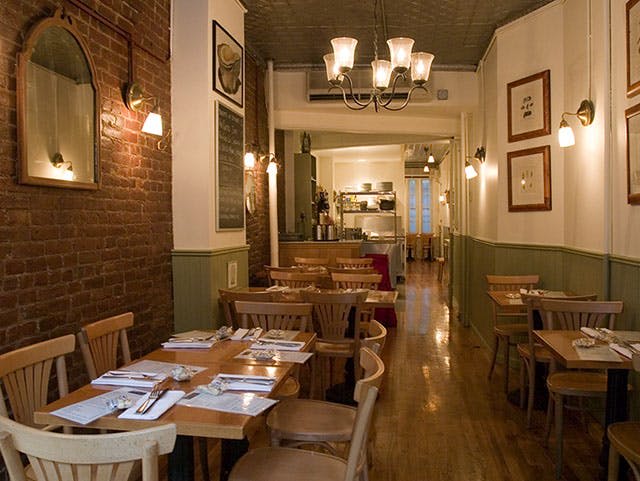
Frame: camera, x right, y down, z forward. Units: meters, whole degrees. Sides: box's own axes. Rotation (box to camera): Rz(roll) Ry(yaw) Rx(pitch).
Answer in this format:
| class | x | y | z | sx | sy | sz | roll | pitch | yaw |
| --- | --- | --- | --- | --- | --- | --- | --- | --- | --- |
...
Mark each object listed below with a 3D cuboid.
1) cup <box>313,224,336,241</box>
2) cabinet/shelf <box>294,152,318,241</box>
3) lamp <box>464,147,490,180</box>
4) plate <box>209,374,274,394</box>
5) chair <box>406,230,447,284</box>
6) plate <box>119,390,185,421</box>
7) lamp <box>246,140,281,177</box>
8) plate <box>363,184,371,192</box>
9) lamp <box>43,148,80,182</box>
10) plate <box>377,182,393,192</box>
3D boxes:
| class | x | y | z | sx | sy | sz | roll | pitch | yaw |
| --- | --- | --- | --- | --- | --- | --- | --- | --- | --- |
| cup | 0.074 | -0.115 | 7.800 | 0.262 | 0.212 | 0.285 | 0 | 5 | 0 |
| cabinet/shelf | -0.263 | -0.786 | 8.330 | 0.383 | 1.485 | 1.534 | 0 | 5 | -1 |
| lamp | 2.105 | -1.055 | 6.485 | 0.345 | 0.620 | 0.320 | -1 | 6 | 0 |
| plate | -0.393 | 0.738 | 2.467 | 0.324 | 0.039 | 0.200 | 0 | 5 | -1 |
| chair | 3.708 | 0.169 | 16.592 | 1.409 | 1.072 | 1.225 | 1 | 5 | 10 |
| plate | -0.791 | 0.778 | 2.245 | 0.196 | 0.046 | 0.272 | 2 | 5 | 21 |
| lamp | -0.794 | -1.113 | 6.457 | 0.352 | 0.266 | 0.382 | 3 | 7 | 15 |
| plate | 0.964 | -1.078 | 9.745 | 0.164 | 0.164 | 0.176 | -2 | 5 | -2 |
| lamp | -1.762 | -0.492 | 3.230 | 0.060 | 0.173 | 0.123 | 1 | 8 | 19 |
| plate | 1.318 | -1.061 | 9.523 | 0.513 | 0.180 | 0.326 | -3 | 5 | -28 |
